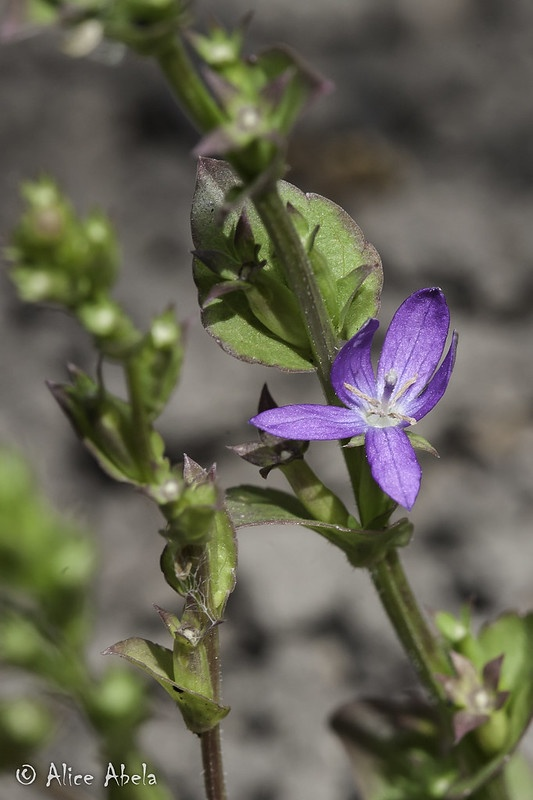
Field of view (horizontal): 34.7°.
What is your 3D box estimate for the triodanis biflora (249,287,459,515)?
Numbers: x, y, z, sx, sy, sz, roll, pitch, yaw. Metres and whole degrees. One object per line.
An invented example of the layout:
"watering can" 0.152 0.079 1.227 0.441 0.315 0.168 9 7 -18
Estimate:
"triodanis biflora" 0.059 -0.001 0.602 0.167 0.107 0.082 31 7 34
